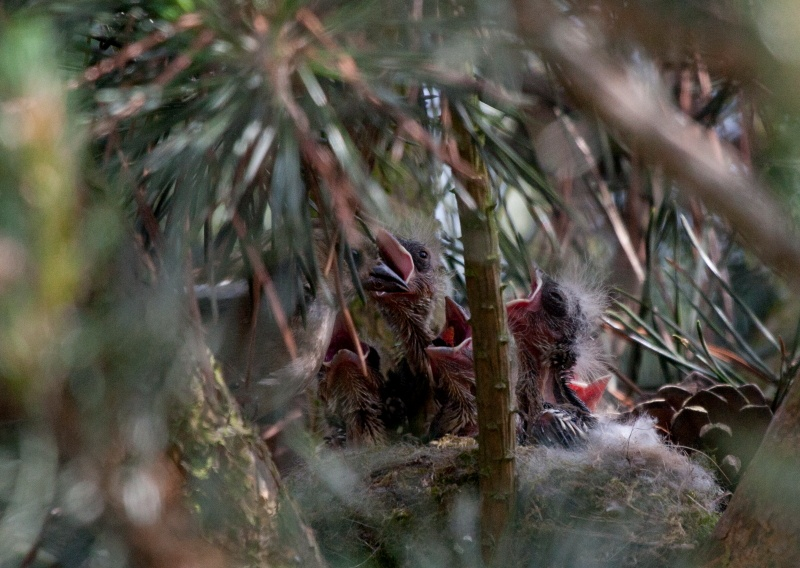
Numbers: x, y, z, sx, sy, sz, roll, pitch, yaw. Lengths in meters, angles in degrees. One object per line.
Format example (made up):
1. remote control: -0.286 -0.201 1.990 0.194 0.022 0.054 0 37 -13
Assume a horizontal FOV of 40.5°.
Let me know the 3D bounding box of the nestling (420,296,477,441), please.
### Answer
1. nestling: 0.056 0.097 1.327 0.071 0.148 0.162 -10 31 3

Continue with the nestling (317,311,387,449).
1. nestling: -0.050 0.136 1.317 0.073 0.178 0.071 -17 33 -11

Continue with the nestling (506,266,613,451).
1. nestling: 0.188 0.106 1.270 0.111 0.191 0.274 -6 33 11
